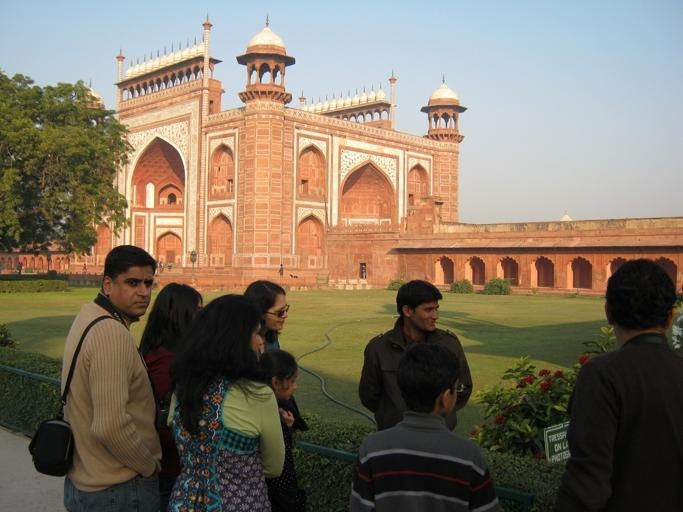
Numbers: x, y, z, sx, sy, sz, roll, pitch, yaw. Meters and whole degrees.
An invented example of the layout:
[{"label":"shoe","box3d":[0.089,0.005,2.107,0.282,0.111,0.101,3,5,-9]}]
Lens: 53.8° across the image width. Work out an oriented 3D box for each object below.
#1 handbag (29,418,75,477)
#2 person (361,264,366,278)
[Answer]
[{"label":"handbag","box3d":[-1.146,0.751,2.677,0.156,0.217,0.085,-1,-2,15]},{"label":"person","box3d":[1.056,0.652,31.579,0.135,0.717,0.488,2,-3,-36]}]
